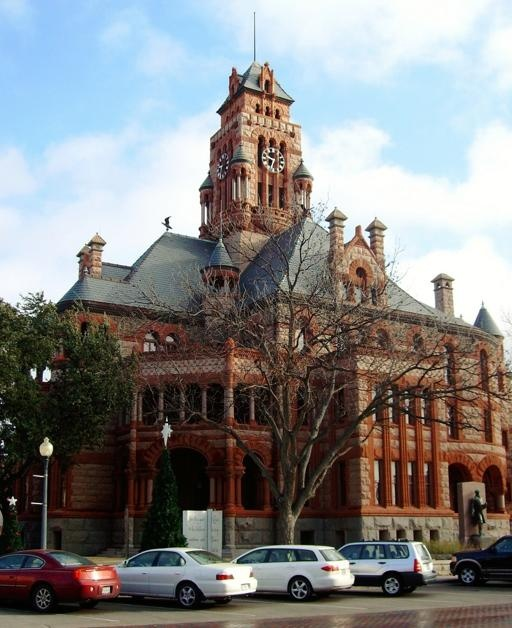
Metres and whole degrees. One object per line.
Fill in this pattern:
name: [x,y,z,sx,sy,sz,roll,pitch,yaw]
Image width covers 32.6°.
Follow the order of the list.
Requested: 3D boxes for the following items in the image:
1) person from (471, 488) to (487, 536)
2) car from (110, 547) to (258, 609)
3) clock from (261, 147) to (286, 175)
person: [8.996,8.121,35.819,0.621,1.883,1.524,-5,-16,14]
car: [-1.725,6.125,20.384,2.908,1.300,0.897,-9,-17,27]
clock: [1.086,-10.991,61.998,1.997,2.207,0.384,9,-19,-34]
